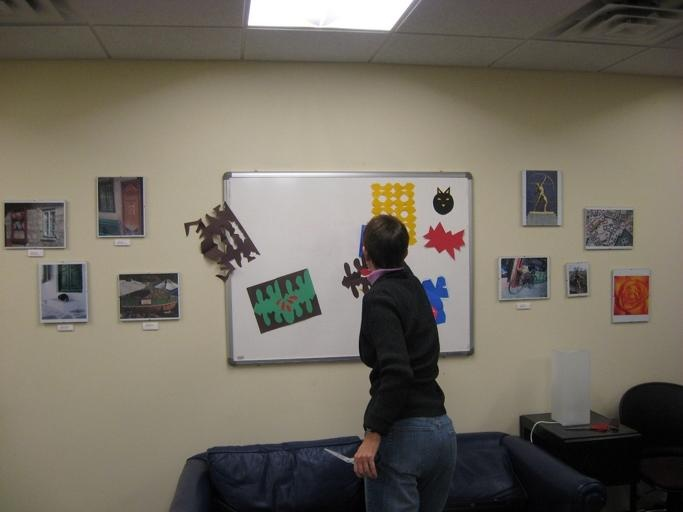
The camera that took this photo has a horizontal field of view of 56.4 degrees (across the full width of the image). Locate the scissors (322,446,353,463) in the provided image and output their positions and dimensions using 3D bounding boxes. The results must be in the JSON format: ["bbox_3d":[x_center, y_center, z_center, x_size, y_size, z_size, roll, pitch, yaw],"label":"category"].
[{"bbox_3d":[-0.021,1.319,4.264,0.236,0.019,0.078,27,44,29],"label":"scissors"}]

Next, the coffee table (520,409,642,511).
[{"bbox_3d":[1.699,1.313,4.635,0.563,0.836,0.824,0,2,-7],"label":"coffee table"}]
